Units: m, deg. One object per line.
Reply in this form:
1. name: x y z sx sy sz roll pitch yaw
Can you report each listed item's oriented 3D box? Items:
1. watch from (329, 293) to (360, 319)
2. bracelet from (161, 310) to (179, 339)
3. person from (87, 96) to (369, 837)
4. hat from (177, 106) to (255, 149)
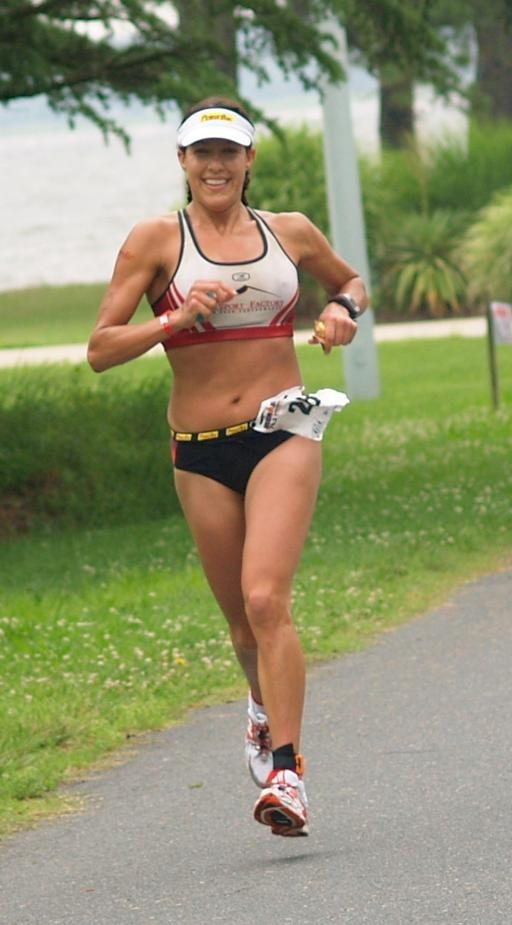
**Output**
1. watch: 0.257 -0.478 2.998 0.080 0.080 0.031 33 72 30
2. bracelet: -0.228 -0.363 2.619 0.025 0.065 0.050 -5 29 -31
3. person: -0.039 0.029 2.772 0.626 1.713 0.916 -7 3 24
4. hat: -0.115 -0.921 2.798 0.222 0.094 0.224 -7 2 -2
